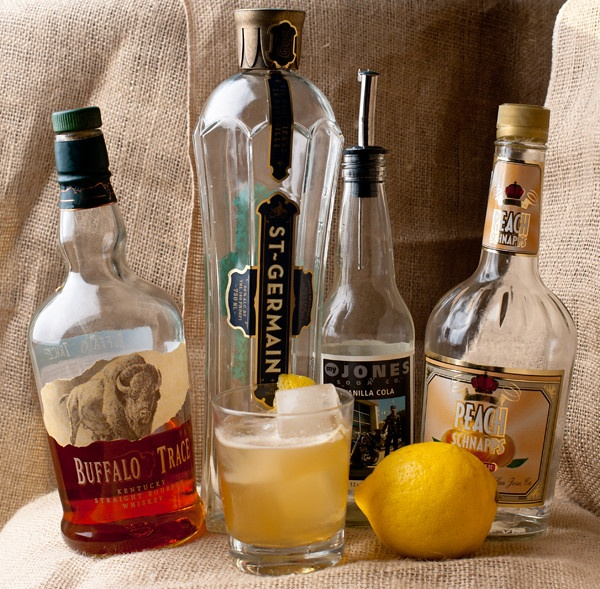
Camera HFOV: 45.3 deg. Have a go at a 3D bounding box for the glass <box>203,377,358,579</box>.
[{"bbox_3d":[0.002,0.171,0.690,0.155,0.167,0.153,-1,-2,-3],"label":"glass"}]

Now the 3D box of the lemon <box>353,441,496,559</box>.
[{"bbox_3d":[0.112,0.179,0.677,0.136,0.103,0.099,-1,1,-6],"label":"lemon"}]
